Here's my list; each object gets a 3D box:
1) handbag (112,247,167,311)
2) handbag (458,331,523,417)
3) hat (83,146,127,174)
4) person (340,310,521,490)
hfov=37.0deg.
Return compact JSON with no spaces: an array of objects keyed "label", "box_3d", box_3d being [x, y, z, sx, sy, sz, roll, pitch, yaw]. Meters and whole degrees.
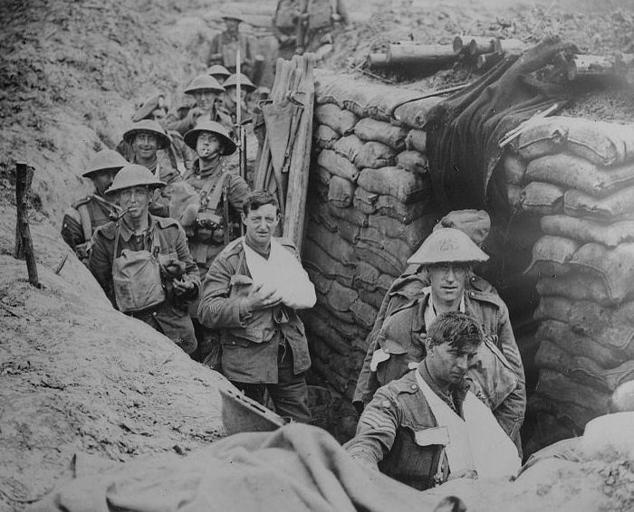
[{"label":"handbag","box_3d":[-1.400,0.181,7.304,0.341,0.446,0.213,-12,1,-23]},{"label":"handbag","box_3d":[1.241,0.849,6.609,0.462,0.462,0.178,-45,16,-20]},{"label":"hat","box_3d":[-1.709,-0.743,7.632,0.224,0.112,0.231,-22,1,25]},{"label":"person","box_3d":[0.852,1.014,6.534,0.794,1.240,0.461,8,-20,-6]}]
